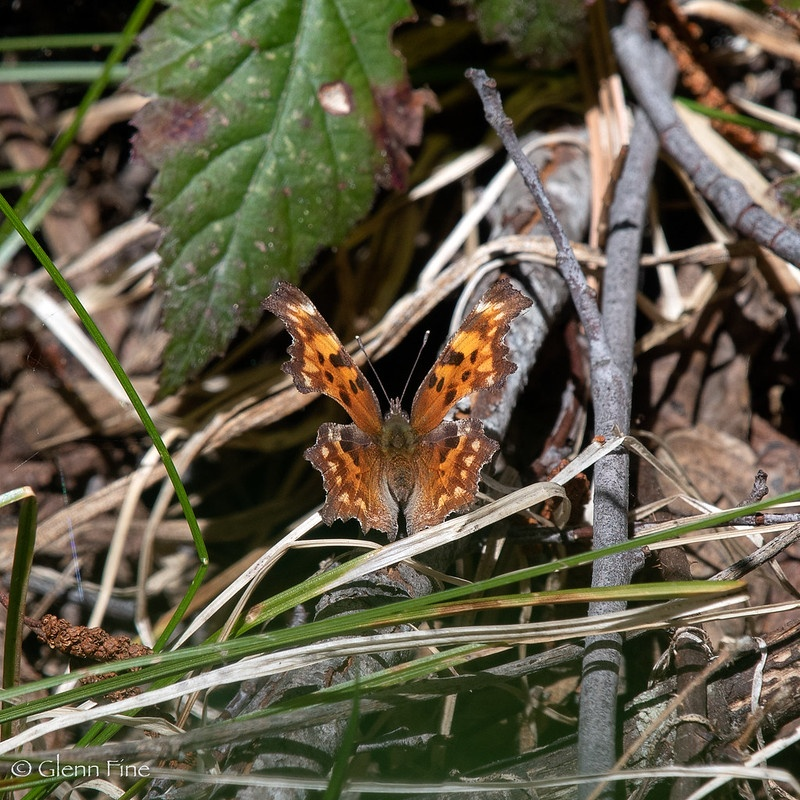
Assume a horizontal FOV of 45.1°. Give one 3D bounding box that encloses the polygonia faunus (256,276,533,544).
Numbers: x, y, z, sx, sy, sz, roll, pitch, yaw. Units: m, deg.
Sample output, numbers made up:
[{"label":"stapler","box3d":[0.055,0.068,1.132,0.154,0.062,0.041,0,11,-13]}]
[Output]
[{"label":"polygonia faunus","box3d":[0.003,0.028,1.940,0.643,0.495,0.057,-2,2,-33]}]
